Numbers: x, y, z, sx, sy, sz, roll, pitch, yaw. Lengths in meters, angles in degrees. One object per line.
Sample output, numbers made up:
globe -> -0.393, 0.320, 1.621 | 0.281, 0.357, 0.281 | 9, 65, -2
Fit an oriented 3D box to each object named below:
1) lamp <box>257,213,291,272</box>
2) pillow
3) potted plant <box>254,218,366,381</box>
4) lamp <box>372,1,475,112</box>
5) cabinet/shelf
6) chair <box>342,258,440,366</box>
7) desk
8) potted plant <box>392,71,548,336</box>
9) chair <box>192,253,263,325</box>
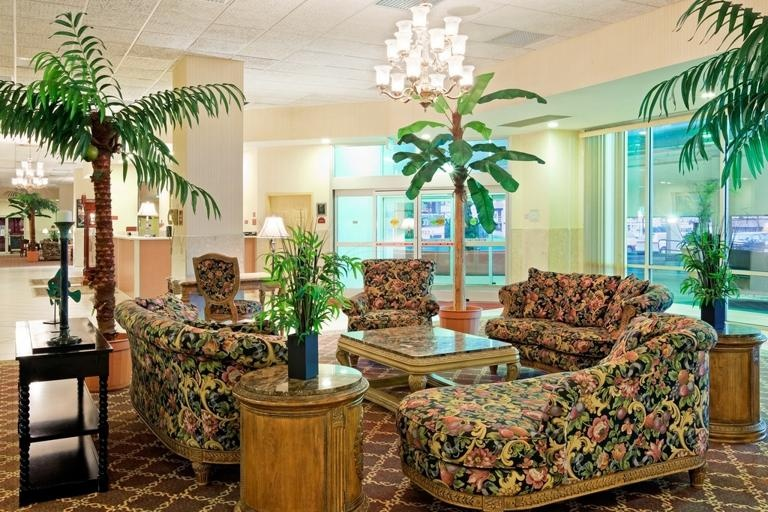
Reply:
lamp -> -1.641, -0.164, 7.791 | 0.493, 0.788, 0.465 | 3, -5, -16
pillow -> 2.218, 0.465, 5.852 | 0.583, 0.613, 1.625 | -18, 16, -42
potted plant -> -0.470, 0.331, 3.309 | 0.638, 0.821, 0.578 | -6, -9, -2
lamp -> 0.493, -2.459, 6.587 | 1.095, 1.264, 2.311 | -2, 1, 4
cabinet/shelf -> -2.295, 1.159, 3.736 | 0.536, 0.795, 1.240 | 2, 1, -22
chair -> 0.114, 0.653, 6.563 | 1.284, 1.178, 1.256 | -2, 4, -32
desk -> -2.361, 0.919, 7.602 | 0.974, 0.711, 1.533 | 3, 4, 41
potted plant -> 1.050, -0.650, 7.230 | 2.407, 3.298, 2.186 | 1, -1, 3
chair -> -2.127, 0.688, 7.360 | 0.820, 1.339, 0.878 | 0, -3, 17
